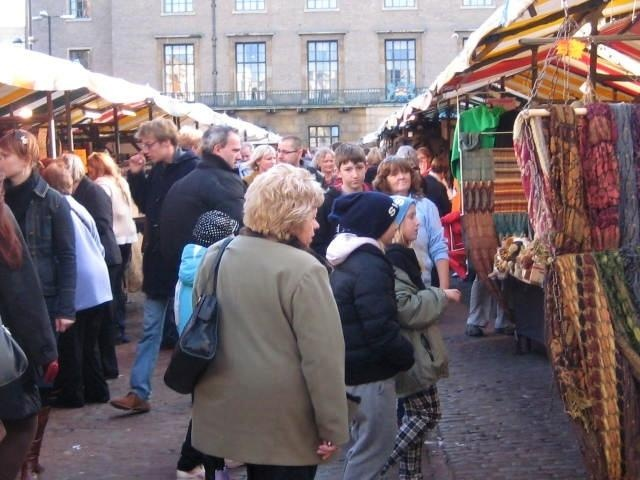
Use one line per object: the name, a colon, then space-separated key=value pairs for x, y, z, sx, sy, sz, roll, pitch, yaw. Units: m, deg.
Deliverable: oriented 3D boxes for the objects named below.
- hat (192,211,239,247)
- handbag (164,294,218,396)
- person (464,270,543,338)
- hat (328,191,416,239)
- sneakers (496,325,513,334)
hat: x=-0.746 y=-0.104 z=5.752 sx=0.303 sy=0.185 sz=0.209 roll=-31 pitch=43 yaw=-20
handbag: x=-0.689 y=0.563 z=4.405 sx=0.301 sy=0.509 sz=0.141 roll=-3 pitch=7 yaw=-10
person: x=2.002 y=0.720 z=8.643 sx=0.952 sy=0.762 sz=0.559 roll=-2 pitch=-2 yaw=41
hat: x=0.301 y=-0.203 z=5.195 sx=0.347 sy=0.301 sz=0.277 roll=9 pitch=5 yaw=-9
sneakers: x=2.116 y=1.024 z=9.465 sx=0.089 sy=0.137 sz=0.183 roll=3 pitch=-16 yaw=-22
